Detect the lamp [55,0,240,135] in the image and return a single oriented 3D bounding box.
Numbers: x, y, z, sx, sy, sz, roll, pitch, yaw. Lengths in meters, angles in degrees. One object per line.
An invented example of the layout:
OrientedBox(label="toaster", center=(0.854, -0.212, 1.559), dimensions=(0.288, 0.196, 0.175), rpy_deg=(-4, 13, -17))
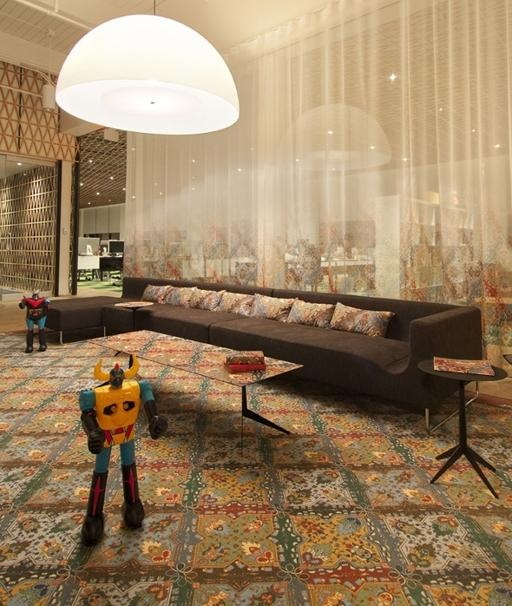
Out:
OrientedBox(label="lamp", center=(-0.548, -1.223, 2.370), dimensions=(0.980, 0.357, 0.869), rpy_deg=(-2, 7, -23))

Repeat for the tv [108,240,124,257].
OrientedBox(label="tv", center=(-4.264, -1.643, 13.340), dimensions=(0.441, 0.490, 0.528), rpy_deg=(-1, 7, -18))

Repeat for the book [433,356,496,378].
OrientedBox(label="book", center=(0.935, 0.288, 1.978), dimensions=(0.242, 0.024, 0.380), rpy_deg=(4, 7, 23))

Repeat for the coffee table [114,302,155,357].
OrientedBox(label="coffee table", center=(-1.357, 0.263, 4.992), dimensions=(0.584, 0.527, 0.525), rpy_deg=(1, 14, -9))

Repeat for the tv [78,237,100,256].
OrientedBox(label="tv", center=(-4.825, -1.608, 12.616), dimensions=(0.394, 0.552, 0.846), rpy_deg=(6, 6, 33))

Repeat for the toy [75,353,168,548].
OrientedBox(label="toy", center=(-0.492, 0.516, 1.582), dimensions=(0.280, 0.603, 0.368), rpy_deg=(-2, 7, -25))
